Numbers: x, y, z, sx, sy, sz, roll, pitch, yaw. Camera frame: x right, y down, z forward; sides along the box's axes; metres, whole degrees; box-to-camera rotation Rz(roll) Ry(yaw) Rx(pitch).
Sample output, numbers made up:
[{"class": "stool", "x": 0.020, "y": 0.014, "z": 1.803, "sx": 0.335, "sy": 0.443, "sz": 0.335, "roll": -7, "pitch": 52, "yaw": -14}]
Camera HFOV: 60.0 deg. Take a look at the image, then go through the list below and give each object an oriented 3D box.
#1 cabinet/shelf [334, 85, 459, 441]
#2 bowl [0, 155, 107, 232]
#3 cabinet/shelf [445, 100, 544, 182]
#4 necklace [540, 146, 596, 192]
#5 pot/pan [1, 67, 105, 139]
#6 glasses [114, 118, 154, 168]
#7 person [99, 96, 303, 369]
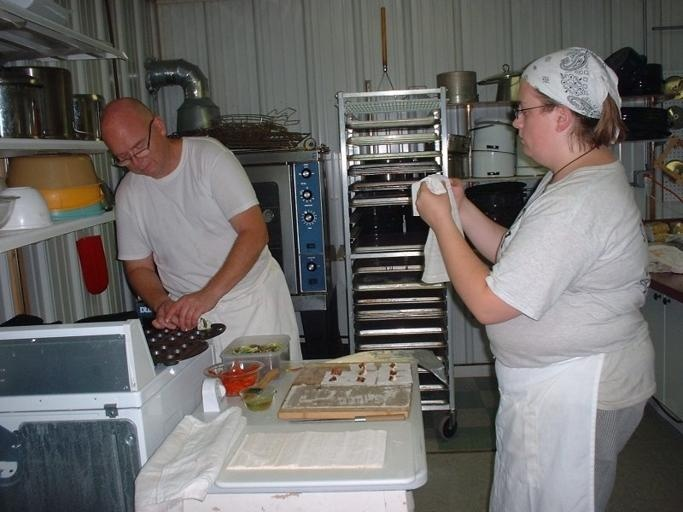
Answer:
[{"class": "cabinet/shelf", "x": 0.366, "y": -0.088, "z": 3.736, "sx": 0.762, "sy": 1.834, "sz": 0.712, "roll": -2, "pitch": 4, "yaw": -5}, {"class": "bowl", "x": -1.056, "y": -0.257, "z": 2.203, "sx": 0.314, "sy": 0.179, "sz": 0.319, "roll": -1, "pitch": 9, "yaw": 0}, {"class": "cabinet/shelf", "x": 0.992, "y": -0.761, "z": 3.964, "sx": 0.613, "sy": 0.450, "sz": 0.516, "roll": 0, "pitch": 9, "yaw": 9}, {"class": "necklace", "x": 0.675, "y": -0.270, "z": 1.762, "sx": 0.003, "sy": 0.050, "sz": 0.154, "roll": 4, "pitch": -23, "yaw": -29}, {"class": "pot/pan", "x": -1.050, "y": -0.575, "z": 2.244, "sx": 0.401, "sy": 0.255, "sz": 0.222, "roll": 7, "pitch": 11, "yaw": 37}, {"class": "glasses", "x": -0.752, "y": -0.424, "z": 2.281, "sx": 0.180, "sy": 0.186, "sz": 0.049, "roll": -22, "pitch": -38, "yaw": 33}, {"class": "person", "x": -0.519, "y": -0.038, "z": 2.412, "sx": 0.744, "sy": 1.198, "sz": 0.675, "roll": -7, "pitch": 11, "yaw": -18}]
